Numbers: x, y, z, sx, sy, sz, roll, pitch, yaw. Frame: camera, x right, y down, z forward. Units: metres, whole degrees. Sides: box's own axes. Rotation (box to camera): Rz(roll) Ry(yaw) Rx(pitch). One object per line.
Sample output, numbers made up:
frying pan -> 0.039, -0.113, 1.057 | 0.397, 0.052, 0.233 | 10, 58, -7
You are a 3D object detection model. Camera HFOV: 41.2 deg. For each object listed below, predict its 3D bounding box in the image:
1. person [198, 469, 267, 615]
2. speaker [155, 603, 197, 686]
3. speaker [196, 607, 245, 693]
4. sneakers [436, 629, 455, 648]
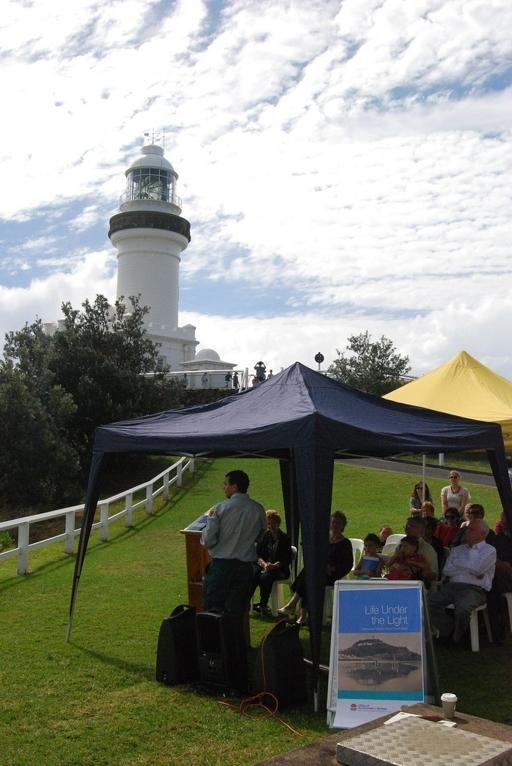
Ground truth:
person -> -0.287, 1.482, 6.304 | 0.433, 1.347, 0.749 | -3, -6, 30
speaker -> -0.681, 2.274, 5.882 | 0.358, 0.620, 0.238 | 1, -6, -8
speaker -> -0.303, 2.217, 5.620 | 0.431, 0.678, 0.368 | -1, -6, 12
sneakers -> 2.024, 2.681, 7.249 | 0.192, 0.174, 0.152 | -1, -6, 11
